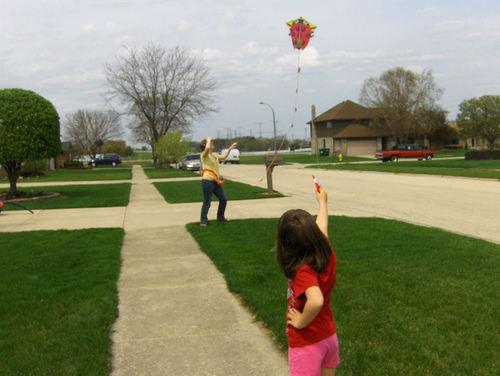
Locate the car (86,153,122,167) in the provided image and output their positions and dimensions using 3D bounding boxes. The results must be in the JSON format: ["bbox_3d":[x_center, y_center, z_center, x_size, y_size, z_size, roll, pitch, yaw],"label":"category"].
[{"bbox_3d":[-22.380,-4.389,63.179,4.285,1.693,3.438,-6,10,-26],"label":"car"}]

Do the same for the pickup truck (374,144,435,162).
[{"bbox_3d":[16.566,-3.788,43.214,5.666,1.631,2.355,-5,9,-19],"label":"pickup truck"}]

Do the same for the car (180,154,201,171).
[{"bbox_3d":[-6.192,-2.578,42.597,1.791,1.571,4.269,-4,9,-15],"label":"car"}]

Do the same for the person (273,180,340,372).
[{"bbox_3d":[0.463,0.831,3.247,0.452,1.328,0.456,5,10,40],"label":"person"}]

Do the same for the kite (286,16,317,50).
[{"bbox_3d":[1.520,-4.610,11.902,0.909,1.062,0.114,10,47,11],"label":"kite"}]
